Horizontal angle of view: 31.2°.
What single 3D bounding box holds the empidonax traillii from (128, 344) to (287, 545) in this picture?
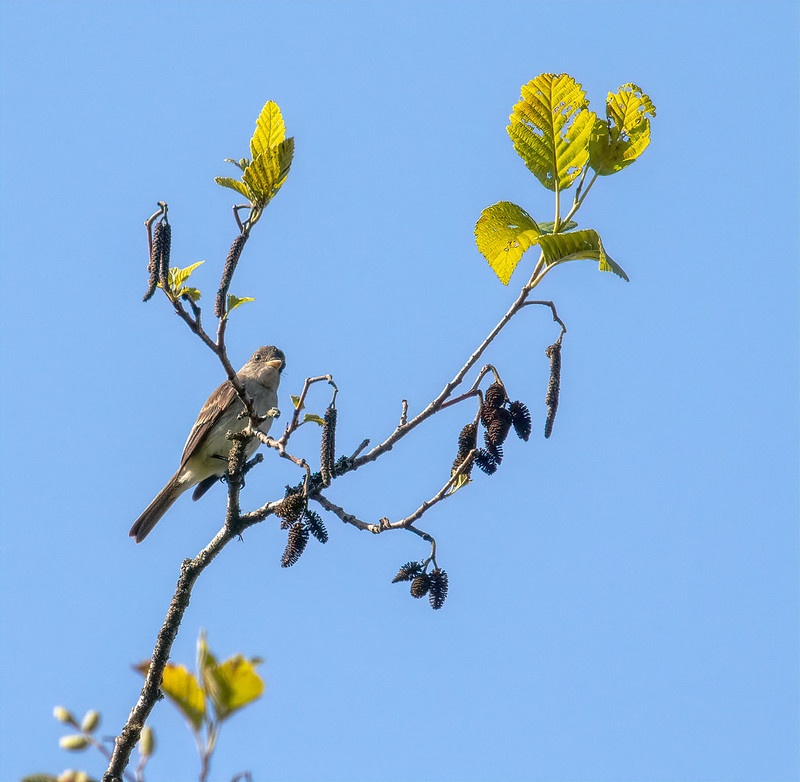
[{"bbox_3d":[-1.054,0.383,8.461,0.548,1.218,1.124,5,-14,-29],"label":"empidonax traillii"}]
